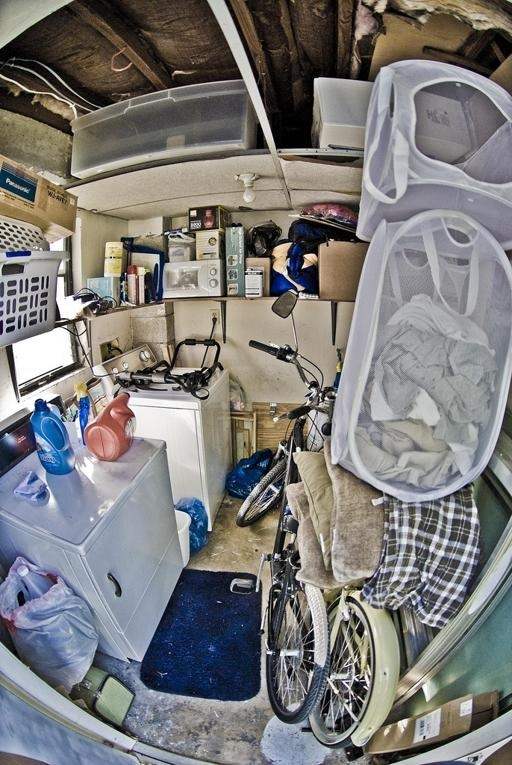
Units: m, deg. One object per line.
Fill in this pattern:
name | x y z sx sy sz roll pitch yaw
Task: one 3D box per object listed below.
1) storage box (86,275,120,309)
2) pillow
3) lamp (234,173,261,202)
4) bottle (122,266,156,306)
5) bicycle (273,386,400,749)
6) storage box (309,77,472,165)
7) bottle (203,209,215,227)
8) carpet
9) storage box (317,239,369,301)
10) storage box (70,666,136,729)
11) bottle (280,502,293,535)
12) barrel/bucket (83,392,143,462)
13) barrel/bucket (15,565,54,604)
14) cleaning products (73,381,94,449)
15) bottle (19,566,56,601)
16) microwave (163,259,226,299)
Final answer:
storage box | -0.730 -0.456 2.469 0.179 0.185 0.132 0 0 -17
pillow | 0.209 0.334 1.436 0.262 0.128 0.393 -33 35 23
lamp | -0.032 -0.808 2.126 0.092 0.095 0.095 -2 6 0
bottle | -0.614 -0.502 2.652 0.117 0.215 0.218 3 8 7
bicycle | 0.226 0.576 1.777 0.439 0.609 0.997 15 33 -10
storage box | 0.411 -0.803 1.526 0.470 0.224 0.313 3 2 1
bottle | -0.251 -0.880 2.733 0.053 0.099 0.012 0 17 -1
carpet | -0.188 1.026 2.168 0.442 0.019 0.739 7 15 -2
storage box | 0.406 -0.528 2.438 0.266 0.266 0.166 7 11 4
storage box | -0.529 1.109 1.798 0.116 0.198 0.133 4 39 36
bottle | 0.112 0.468 1.808 0.043 0.124 0.087 10 -25 3
barrel/bucket | -0.570 0.173 1.972 0.154 0.296 0.213 -1 -5 -2
barrel/bucket | -0.691 0.627 1.589 0.077 0.093 0.170 -6 -25 -10
cleaning products | -0.695 0.124 2.057 0.065 0.256 0.066 10 25 7
bottle | -0.683 0.626 1.593 0.065 0.079 0.143 13 -24 0
microwave | -0.353 -0.569 2.838 0.294 0.198 0.200 2 7 16
